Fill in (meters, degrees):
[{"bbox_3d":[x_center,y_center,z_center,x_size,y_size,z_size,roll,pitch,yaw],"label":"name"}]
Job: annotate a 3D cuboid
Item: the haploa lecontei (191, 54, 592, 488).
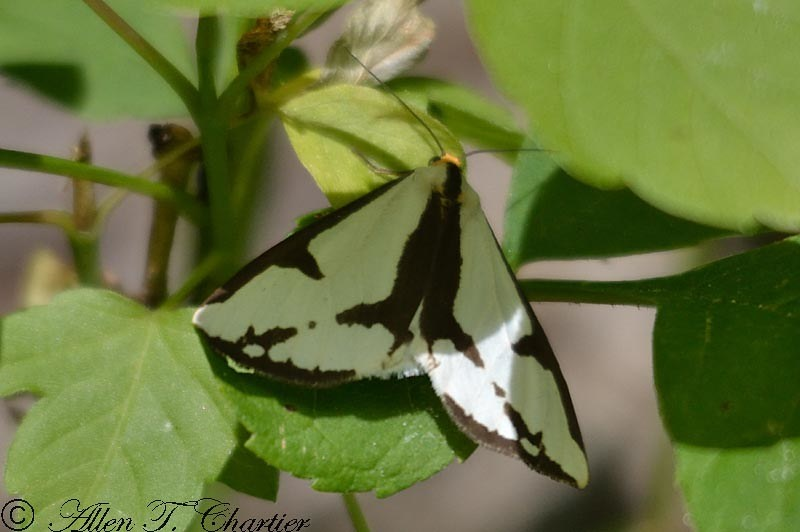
[{"bbox_3d":[0.023,0.028,1.219,0.506,0.078,0.352,16,70,0],"label":"haploa lecontei"}]
